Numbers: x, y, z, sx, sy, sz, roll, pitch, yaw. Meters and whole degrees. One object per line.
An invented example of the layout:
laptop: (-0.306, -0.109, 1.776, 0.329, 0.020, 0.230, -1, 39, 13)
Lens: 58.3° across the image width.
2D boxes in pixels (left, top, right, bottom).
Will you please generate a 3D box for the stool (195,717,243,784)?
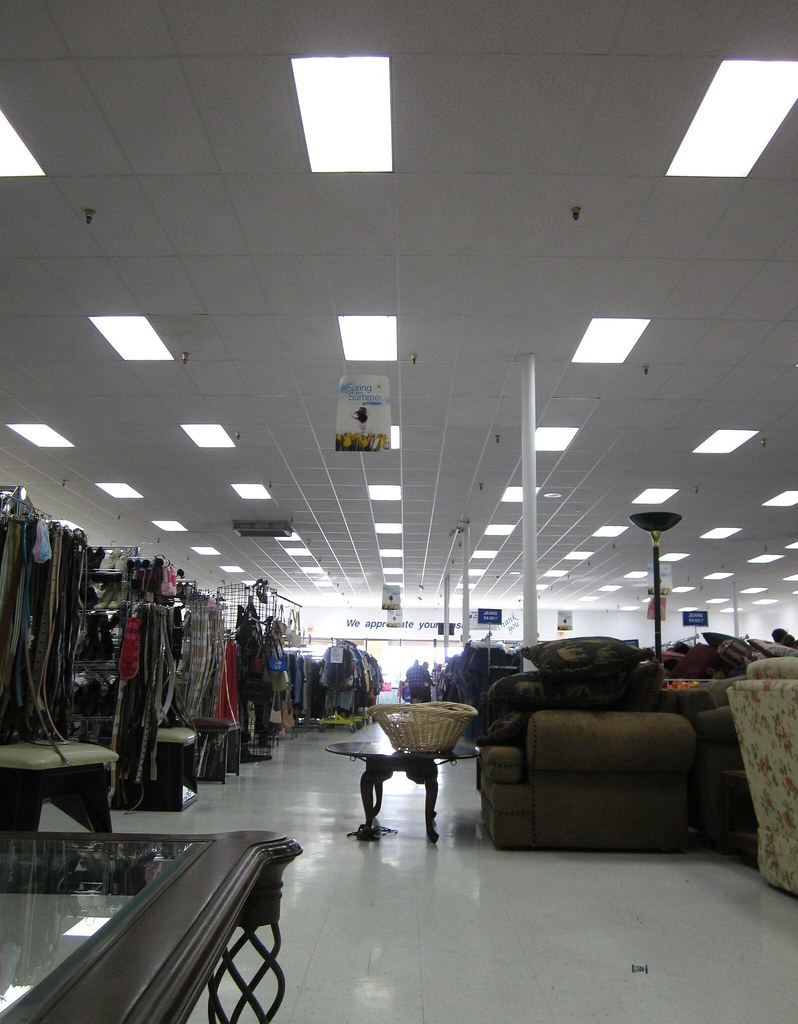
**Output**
stool: (-1.517, 1.860, 5.592, 0.323, 0.447, 0.604, -6, -11, 14)

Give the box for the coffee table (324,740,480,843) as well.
coffee table: (0.006, 1.527, 3.965, 0.670, 0.447, 1.107, 1, -13, 10)

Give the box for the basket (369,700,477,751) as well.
basket: (0.168, 1.088, 3.675, 0.361, 0.176, 0.355, 7, -12, -43)

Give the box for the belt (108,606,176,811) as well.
belt: (-1.524, 1.163, 4.261, 0.336, 1.196, 0.324, 7, -12, -21)

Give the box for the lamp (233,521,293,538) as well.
lamp: (-2.512, 0.328, 13.321, 1.060, 0.231, 0.555, 0, -13, 12)

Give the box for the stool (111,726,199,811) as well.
stool: (-1.452, 1.634, 4.499, 0.286, 0.517, 0.557, -4, -8, -9)
